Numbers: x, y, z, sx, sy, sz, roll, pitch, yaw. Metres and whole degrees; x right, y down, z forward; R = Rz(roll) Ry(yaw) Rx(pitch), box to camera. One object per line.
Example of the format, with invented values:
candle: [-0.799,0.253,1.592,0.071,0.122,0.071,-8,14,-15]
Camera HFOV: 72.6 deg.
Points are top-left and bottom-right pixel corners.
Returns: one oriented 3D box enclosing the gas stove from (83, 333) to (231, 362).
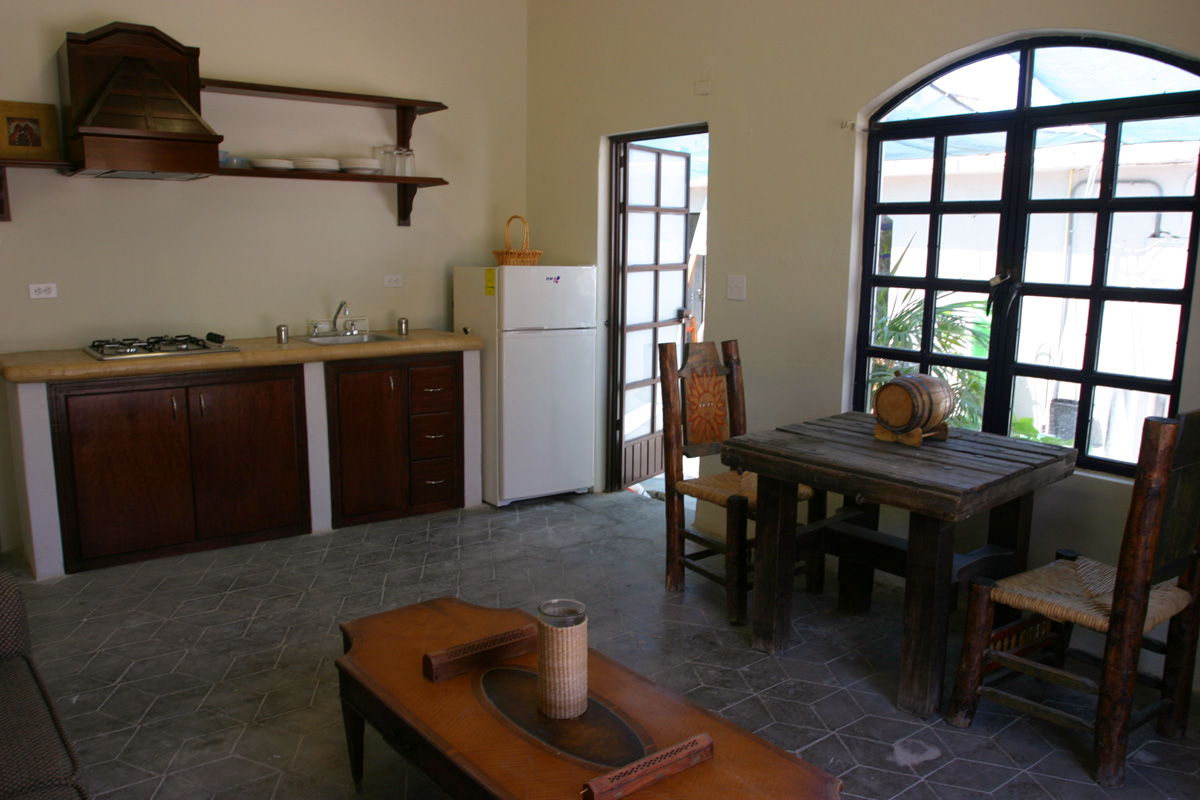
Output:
gas stove: [-2.777,-0.339,5.140,0.778,0.102,0.515,-8,11,-30]

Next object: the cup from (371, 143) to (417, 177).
cup: [-1.470,-1.739,5.933,0.331,0.228,0.183,3,9,9]

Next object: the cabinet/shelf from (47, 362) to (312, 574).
cabinet/shelf: [-2.685,0.334,5.263,1.449,1.192,0.549,-6,15,-37]

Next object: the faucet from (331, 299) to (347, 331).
faucet: [-1.902,-0.619,5.971,0.087,0.216,0.176,5,13,33]

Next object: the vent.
vent: [-2.803,-1.679,4.876,0.755,0.679,0.410,-5,10,-39]

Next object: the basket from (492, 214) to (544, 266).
basket: [-0.612,-1.158,6.039,0.377,0.345,0.366,-6,7,-28]

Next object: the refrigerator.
refrigerator: [-0.599,-0.138,6.345,1.114,1.683,1.067,-1,5,-16]

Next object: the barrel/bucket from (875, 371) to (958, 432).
barrel/bucket: [1.548,0.047,4.123,0.226,0.296,0.232,16,-4,1]

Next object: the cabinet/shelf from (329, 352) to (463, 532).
cabinet/shelf: [-1.551,0.217,6.027,0.981,1.175,0.796,-2,13,-25]

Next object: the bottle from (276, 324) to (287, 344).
bottle: [-2.143,-0.445,5.513,0.066,0.116,0.151,-8,12,-26]

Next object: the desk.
desk: [1.288,0.883,4.273,1.256,0.896,1.335,4,-2,39]
